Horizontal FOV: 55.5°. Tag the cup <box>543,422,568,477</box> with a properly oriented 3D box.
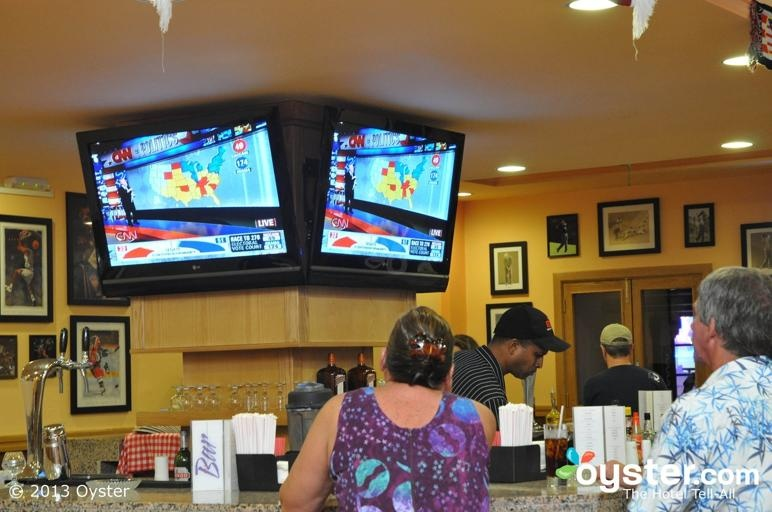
[{"bbox_3d":[0.882,0.996,3.783,0.117,0.248,0.289,-4,-10,12],"label":"cup"}]

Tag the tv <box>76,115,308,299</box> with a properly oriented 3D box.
[{"bbox_3d":[-1.261,-0.367,4.938,1.220,0.869,0.133,-6,6,15],"label":"tv"}]

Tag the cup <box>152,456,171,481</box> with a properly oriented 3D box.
[{"bbox_3d":[-1.156,1.095,3.777,0.065,0.116,0.053,-1,-10,-8],"label":"cup"}]

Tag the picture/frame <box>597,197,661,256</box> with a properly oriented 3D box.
[{"bbox_3d":[2.726,-0.326,8.109,0.662,0.606,0.045,-2,-5,26],"label":"picture/frame"}]

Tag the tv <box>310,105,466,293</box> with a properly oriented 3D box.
[{"bbox_3d":[-0.022,-0.428,5.056,1.134,0.977,0.359,12,-17,-36],"label":"tv"}]

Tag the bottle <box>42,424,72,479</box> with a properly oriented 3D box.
[{"bbox_3d":[-1.756,1.043,3.903,0.133,0.285,0.144,-2,-10,0],"label":"bottle"}]

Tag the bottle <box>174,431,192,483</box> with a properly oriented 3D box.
[{"bbox_3d":[-1.053,1.031,3.807,0.076,0.258,0.223,0,-10,-15],"label":"bottle"}]

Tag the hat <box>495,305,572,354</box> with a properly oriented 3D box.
[{"bbox_3d":[0.843,0.417,4.223,0.377,0.202,0.243,4,1,7],"label":"hat"}]
